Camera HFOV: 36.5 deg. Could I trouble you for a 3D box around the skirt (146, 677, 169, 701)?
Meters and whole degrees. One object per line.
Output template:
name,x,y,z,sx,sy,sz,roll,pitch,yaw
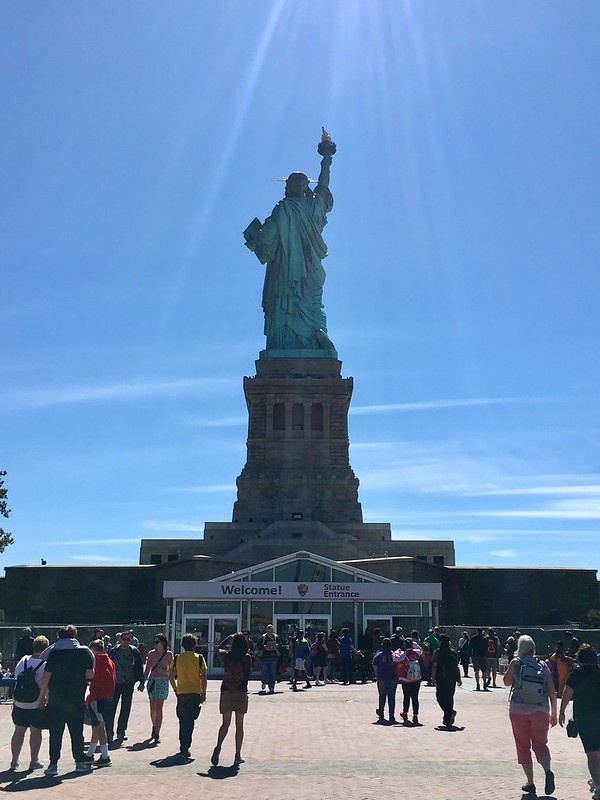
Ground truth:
skirt,-1.965,3.949,12.436,0.264,0.314,0.450,2,-17,-12

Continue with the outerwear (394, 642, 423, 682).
outerwear,1.772,4.374,15.149,0.428,0.638,0.431,-3,-17,5

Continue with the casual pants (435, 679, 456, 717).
casual pants,2.369,4.897,14.831,0.277,0.533,0.486,-3,-17,6

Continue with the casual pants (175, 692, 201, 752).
casual pants,-1.394,3.997,11.236,0.298,0.708,0.514,0,-17,-6

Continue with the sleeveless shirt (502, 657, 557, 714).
sleeveless shirt,2.404,2.822,9.093,0.332,0.502,0.412,16,-13,-37

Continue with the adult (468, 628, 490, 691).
adult,4.639,6.614,23.675,0.538,1.691,0.517,-2,17,2

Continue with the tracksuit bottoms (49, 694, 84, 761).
tracksuit bottoms,-2.650,3.680,10.143,0.411,0.690,0.408,5,-18,-21

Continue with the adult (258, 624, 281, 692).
adult,-0.736,5.839,20.640,0.491,1.457,0.621,10,-17,-35

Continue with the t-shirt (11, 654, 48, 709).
t-shirt,-3.167,3.197,10.463,0.337,0.502,0.294,4,-19,-35

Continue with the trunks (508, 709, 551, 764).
trunks,2.276,3.316,9.030,0.384,0.723,0.271,-5,18,16

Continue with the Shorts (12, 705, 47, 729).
Shorts,-3.049,3.531,10.178,0.369,0.338,0.205,2,-13,-2

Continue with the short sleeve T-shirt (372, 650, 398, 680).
short sleeve T-shirt,1.377,4.384,15.038,0.432,0.493,0.474,-5,-17,12

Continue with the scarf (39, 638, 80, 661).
scarf,-2.773,2.840,10.502,0.313,0.146,0.394,-7,-15,-12
